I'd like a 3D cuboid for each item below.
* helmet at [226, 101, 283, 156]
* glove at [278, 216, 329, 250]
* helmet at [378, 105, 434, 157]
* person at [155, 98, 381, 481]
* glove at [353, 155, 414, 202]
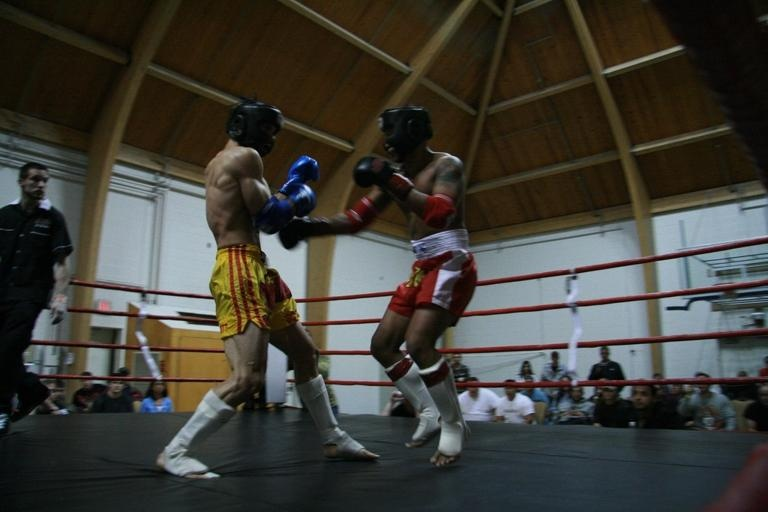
[{"bbox_3d":[-0.640,-0.649,2.487,0.291,0.228,0.240,13,4,28],"label":"helmet"},{"bbox_3d":[-0.454,-0.133,2.700,0.369,0.101,0.140,-7,-30,-15],"label":"glove"},{"bbox_3d":[0.115,-0.676,2.744,0.327,0.255,0.255,-10,3,-28],"label":"helmet"},{"bbox_3d":[-0.574,0.119,2.456,0.423,1.750,0.678,-7,-14,36],"label":"person"},{"bbox_3d":[-0.025,-0.432,2.473,0.256,0.120,0.309,-6,-7,-33],"label":"glove"}]
